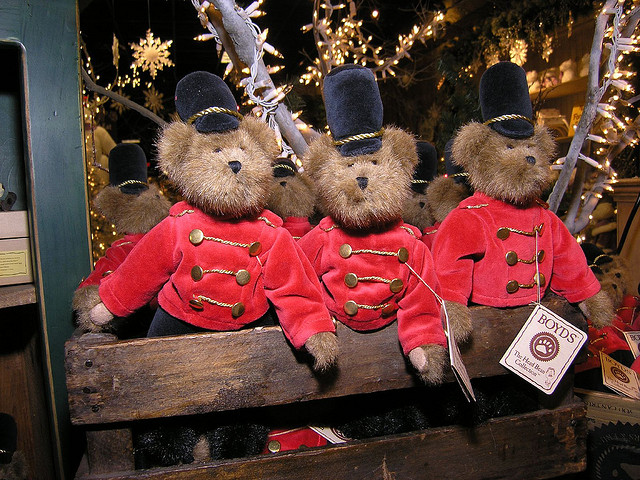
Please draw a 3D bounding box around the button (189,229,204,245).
[{"bbox_3d":[-0.468,-0.011,2.107,0.054,0.055,0.022,-8,12,-13],"label":"button"}]

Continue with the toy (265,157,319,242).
[{"bbox_3d":[-0.138,-0.132,2.744,0.299,0.441,0.267,-2,-10,-45],"label":"toy"}]

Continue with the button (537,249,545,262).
[{"bbox_3d":[0.923,0.066,2.323,0.034,0.045,0.012,11,-6,-4],"label":"button"}]

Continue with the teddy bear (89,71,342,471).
[{"bbox_3d":[-0.413,0.150,2.254,0.930,1.497,0.475,3,10,-9],"label":"teddy bear"}]

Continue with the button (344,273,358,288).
[{"bbox_3d":[0.117,0.156,2.146,0.051,0.054,0.028,-2,12,15],"label":"button"}]

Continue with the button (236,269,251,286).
[{"bbox_3d":[-0.291,0.142,2.105,0.053,0.056,0.031,-10,12,-20],"label":"button"}]

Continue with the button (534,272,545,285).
[{"bbox_3d":[0.905,0.162,2.305,0.045,0.043,0.010,-24,13,-40],"label":"button"}]

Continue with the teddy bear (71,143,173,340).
[{"bbox_3d":[-0.941,0.047,2.555,0.481,0.906,0.429,-8,23,-37],"label":"teddy bear"}]

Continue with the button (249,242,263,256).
[{"bbox_3d":[-0.249,0.035,2.133,0.040,0.040,0.007,36,-10,-31],"label":"button"}]

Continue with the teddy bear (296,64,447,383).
[{"bbox_3d":[0.176,-0.095,2.220,0.685,1.108,0.547,-1,15,7],"label":"teddy bear"}]

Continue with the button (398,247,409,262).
[{"bbox_3d":[0.323,0.057,2.157,0.047,0.045,0.011,8,-6,-29],"label":"button"}]

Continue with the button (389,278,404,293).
[{"bbox_3d":[0.297,0.177,2.141,0.062,0.051,0.026,-11,13,-25],"label":"button"}]

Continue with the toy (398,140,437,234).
[{"bbox_3d":[0.511,-0.224,2.849,0.224,0.530,0.212,-5,24,-18],"label":"toy"}]

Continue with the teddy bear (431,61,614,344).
[{"bbox_3d":[0.808,-0.190,2.387,0.892,1.110,0.530,-4,11,-26],"label":"teddy bear"}]

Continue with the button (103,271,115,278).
[{"bbox_3d":[-0.894,0.150,2.347,0.039,0.009,0.036,-20,9,-36],"label":"button"}]

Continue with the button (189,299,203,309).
[{"bbox_3d":[-0.465,0.242,2.094,0.038,0.020,0.037,0,13,-46],"label":"button"}]

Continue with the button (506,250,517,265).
[{"bbox_3d":[0.786,0.073,2.288,0.049,0.047,0.011,7,-4,-9],"label":"button"}]

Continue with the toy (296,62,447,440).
[{"bbox_3d":[0.188,0.020,2.162,0.665,1.273,0.649,16,29,39],"label":"toy"}]

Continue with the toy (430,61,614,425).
[{"bbox_3d":[0.832,0.043,2.490,0.769,1.504,0.783,1,21,-16],"label":"toy"}]

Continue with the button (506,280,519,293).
[{"bbox_3d":[0.791,0.191,2.284,0.057,0.050,0.020,-8,12,-12],"label":"button"}]

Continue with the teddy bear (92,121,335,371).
[{"bbox_3d":[-0.398,0.046,2.181,1.006,0.959,0.619,3,4,-21],"label":"teddy bear"}]

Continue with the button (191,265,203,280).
[{"bbox_3d":[-0.462,0.124,2.087,0.056,0.055,0.013,3,1,14],"label":"button"}]

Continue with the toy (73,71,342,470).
[{"bbox_3d":[-0.424,0.190,2.390,0.895,1.640,0.947,3,17,-12],"label":"toy"}]

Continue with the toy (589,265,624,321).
[{"bbox_3d":[1.337,0.241,2.605,0.153,0.267,0.170,5,13,17],"label":"toy"}]

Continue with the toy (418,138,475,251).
[{"bbox_3d":[0.577,-0.182,2.597,0.513,0.248,0.357,-7,-5,-42],"label":"toy"}]

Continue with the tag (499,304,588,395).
[{"bbox_3d":[0.869,0.425,2.175,0.228,0.297,0.031,34,-14,10],"label":"tag"}]

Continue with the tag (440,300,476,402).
[{"bbox_3d":[0.500,0.400,2.037,0.096,0.328,0.242,-4,12,11],"label":"tag"}]
